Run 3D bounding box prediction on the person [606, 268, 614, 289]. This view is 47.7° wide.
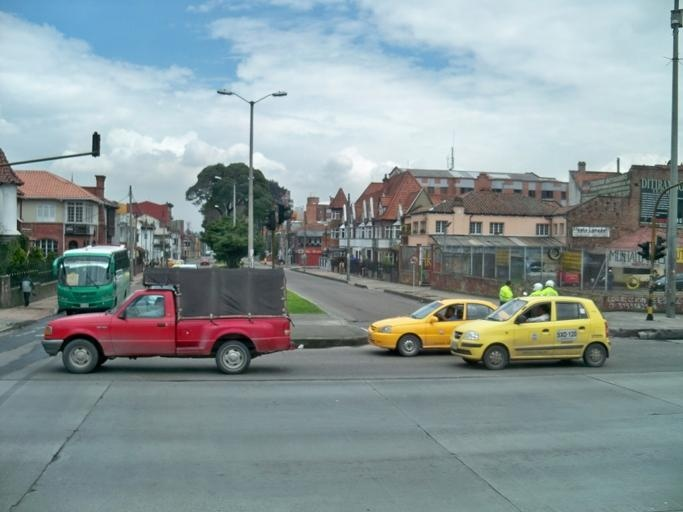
[{"bbox_3d":[13.155,1.056,37.547,0.288,1.000,1.269,3,6,20],"label":"person"}]

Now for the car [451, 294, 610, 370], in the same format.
[{"bbox_3d":[5.064,2.141,20.904,3.556,1.629,1.984,1,-2,-5],"label":"car"}]

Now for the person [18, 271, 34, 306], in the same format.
[{"bbox_3d":[-15.236,1.684,37.377,0.463,1.582,2.514,-1,6,-23],"label":"person"}]

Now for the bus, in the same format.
[{"bbox_3d":[-11.085,1.032,36.417,3.105,3.158,7.557,-1,-2,-5],"label":"bus"}]

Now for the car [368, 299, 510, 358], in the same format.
[{"bbox_3d":[2.672,2.114,22.886,3.524,1.212,1.637,0,0,-13],"label":"car"}]

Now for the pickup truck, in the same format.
[{"bbox_3d":[-4.308,1.604,19.607,6.005,2.662,2.604,1,-3,-15],"label":"pickup truck"}]

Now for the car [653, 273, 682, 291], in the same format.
[{"bbox_3d":[18.919,1.588,44.454,1.459,0.904,3.791,4,6,24],"label":"car"}]

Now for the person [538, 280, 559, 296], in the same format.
[{"bbox_3d":[8.109,1.257,30.068,0.799,0.871,1.331,-2,-7,11],"label":"person"}]
